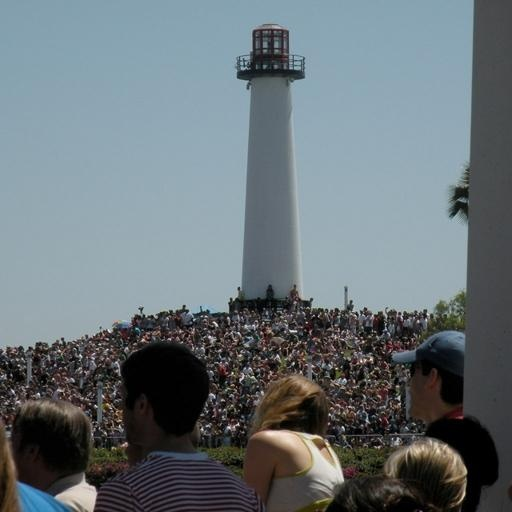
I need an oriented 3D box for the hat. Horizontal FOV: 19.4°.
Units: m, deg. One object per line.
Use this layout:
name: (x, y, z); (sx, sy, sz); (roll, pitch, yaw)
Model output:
hat: (0.873, 0.479, 7.530); (0.304, 0.172, 0.205); (11, 0, 11)
